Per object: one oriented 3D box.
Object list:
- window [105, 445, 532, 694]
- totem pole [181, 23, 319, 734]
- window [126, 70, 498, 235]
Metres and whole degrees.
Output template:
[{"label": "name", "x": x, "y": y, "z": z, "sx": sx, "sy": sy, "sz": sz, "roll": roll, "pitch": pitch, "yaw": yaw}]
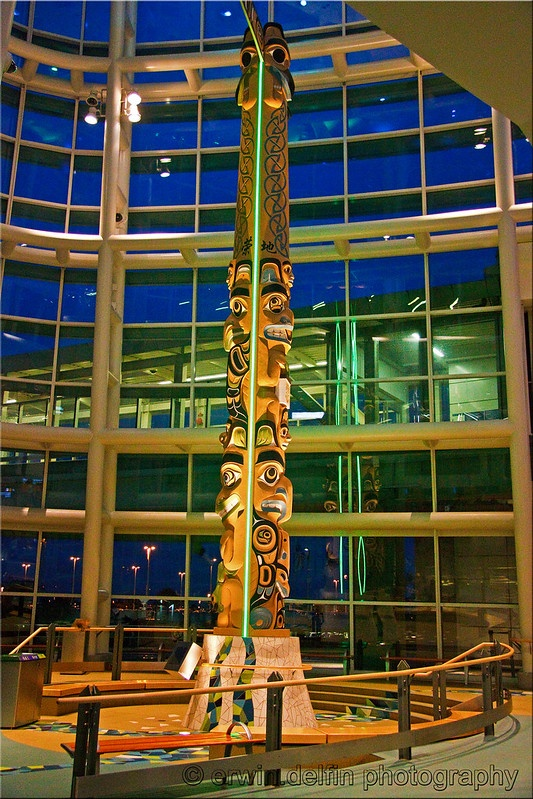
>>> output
[{"label": "window", "x": 1.325, "y": 3.063, "z": 13.381, "sx": 5.130, "sy": 3.090, "sz": 0.193, "roll": 0, "pitch": -3, "yaw": 16}, {"label": "totem pole", "x": -0.135, "y": -1.122, "z": 10.131, "sx": 1.095, "sy": 9.335, "sz": 0.736, "roll": 0, "pitch": -17, "yaw": 0}, {"label": "window", "x": 1.240, "y": -5.126, "z": 15.681, "sx": 7.029, "sy": 3.306, "sz": 0.269, "roll": -2, "pitch": -9, "yaw": 14}]
